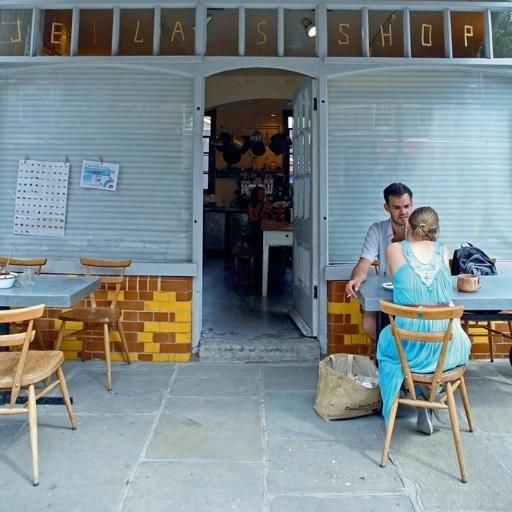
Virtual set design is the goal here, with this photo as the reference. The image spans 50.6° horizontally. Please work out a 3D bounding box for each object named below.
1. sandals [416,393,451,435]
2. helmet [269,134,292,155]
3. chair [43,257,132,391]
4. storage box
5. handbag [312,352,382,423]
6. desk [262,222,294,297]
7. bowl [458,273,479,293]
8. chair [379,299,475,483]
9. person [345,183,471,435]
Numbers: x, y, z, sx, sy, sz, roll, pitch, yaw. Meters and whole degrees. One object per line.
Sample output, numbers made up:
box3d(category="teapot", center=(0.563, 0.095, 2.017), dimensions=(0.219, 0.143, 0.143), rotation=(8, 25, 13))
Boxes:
box3d(category="sandals", center=(1.039, 0.939, 3.211), dimensions=(0.128, 0.200, 0.130), rotation=(0, 8, -5))
box3d(category="helmet", center=(0.525, -2.247, 10.861), dimensions=(0.349, 0.398, 0.455), rotation=(8, 11, 43))
box3d(category="chair", center=(-1.265, 0.497, 4.238), dimensions=(0.558, 0.970, 0.553), rotation=(0, 2, 3))
box3d(category="storage box", center=(0.604, 0.806, 3.447), dimensions=(0.423, 0.363, 0.359), rotation=(8, 10, 23))
box3d(category="handbag", center=(0.596, 0.810, 3.471), dimensions=(0.440, 0.382, 0.367), rotation=(0, 2, -8))
box3d(category="desk", center=(0.259, 0.069, 6.845), dimensions=(0.361, 0.883, 0.341), rotation=(0, 8, -1))
box3d(category="bowl", center=(1.280, 0.166, 3.233), dimensions=(0.090, 0.081, 0.118), rotation=(1, -2, -19))
box3d(category="chair", center=(0.964, 0.623, 2.903), dimensions=(0.526, 0.885, 0.549), rotation=(1, 2, 28))
box3d(category="person", center=(0.882, 0.186, 3.197), dimensions=(0.689, 1.833, 0.637), rotation=(0, 1, 4))
